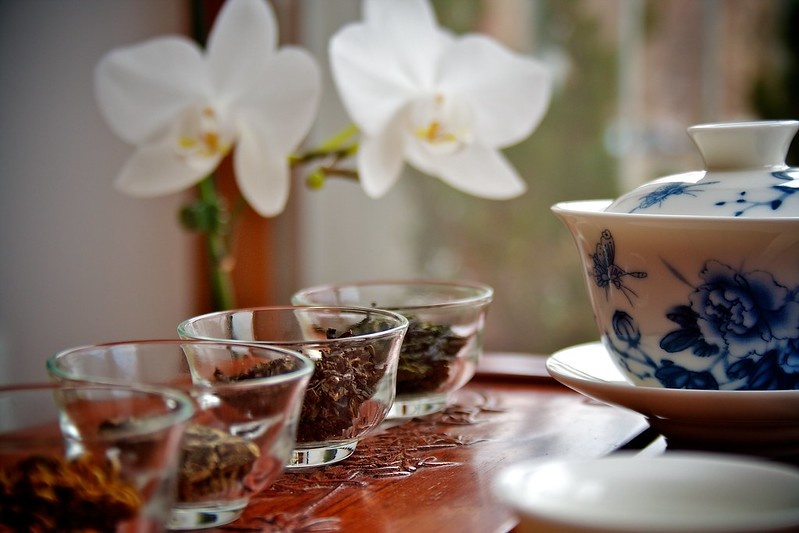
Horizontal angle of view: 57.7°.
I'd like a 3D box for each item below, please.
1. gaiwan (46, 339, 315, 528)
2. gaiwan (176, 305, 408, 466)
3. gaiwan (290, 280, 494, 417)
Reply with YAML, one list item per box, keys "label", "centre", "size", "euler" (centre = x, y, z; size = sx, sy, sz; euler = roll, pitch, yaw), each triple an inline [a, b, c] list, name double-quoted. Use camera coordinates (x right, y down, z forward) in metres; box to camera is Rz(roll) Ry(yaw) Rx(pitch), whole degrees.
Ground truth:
- label: "gaiwan"
  centre: [-0.174, 0.123, 0.597]
  size: [0.184, 0.099, 0.175]
  euler: [1, -5, 11]
- label: "gaiwan"
  centre: [-0.090, 0.104, 0.759]
  size: [0.181, 0.099, 0.172]
  euler: [0, -4, 3]
- label: "gaiwan"
  centre: [0.018, 0.078, 0.866]
  size: [0.183, 0.101, 0.177]
  euler: [0, -2, 0]
